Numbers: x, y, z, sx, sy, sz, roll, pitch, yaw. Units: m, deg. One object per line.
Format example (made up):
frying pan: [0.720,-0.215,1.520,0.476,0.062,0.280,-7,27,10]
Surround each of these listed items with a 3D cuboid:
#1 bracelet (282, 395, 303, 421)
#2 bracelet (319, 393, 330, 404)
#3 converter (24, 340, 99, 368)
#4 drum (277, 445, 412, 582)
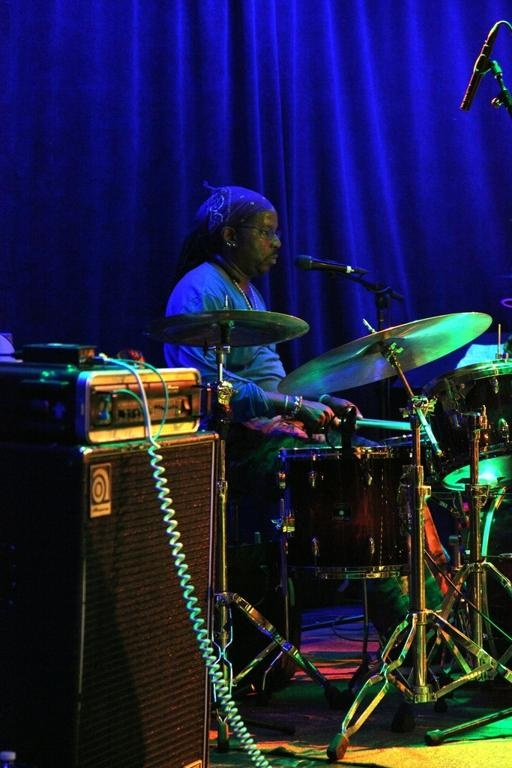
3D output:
bracelet: [0.120,0.074,2.574,0.058,0.064,0.070,2,-7,4]
bracelet: [0.215,0.048,2.479,0.025,0.029,0.032,0,-13,-9]
converter: [-0.324,-0.047,1.293,0.091,0.027,0.052,1,2,25]
drum: [0.260,0.357,2.237,0.368,0.337,0.365,-3,-7,13]
